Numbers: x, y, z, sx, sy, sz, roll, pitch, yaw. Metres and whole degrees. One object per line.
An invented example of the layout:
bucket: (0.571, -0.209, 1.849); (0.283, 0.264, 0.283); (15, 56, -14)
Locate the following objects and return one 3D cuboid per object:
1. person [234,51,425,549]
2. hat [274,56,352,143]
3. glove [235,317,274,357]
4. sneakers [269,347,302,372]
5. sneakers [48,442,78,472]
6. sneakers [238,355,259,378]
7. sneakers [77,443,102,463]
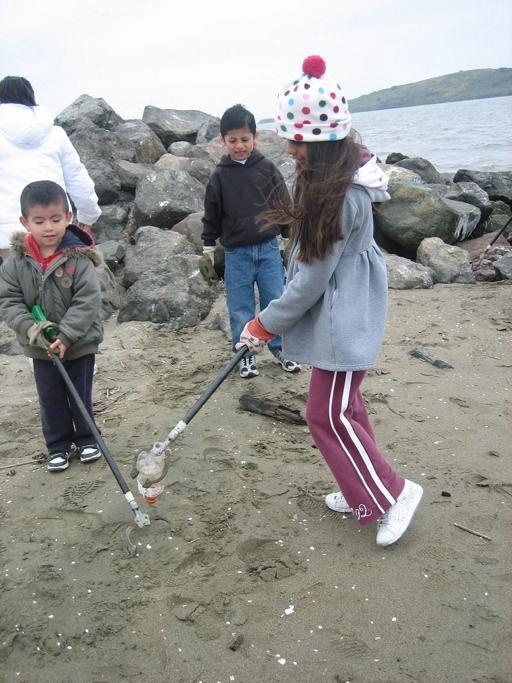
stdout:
person: (0.337, -0.116, 2.571); (0.582, 2.023, 0.510); (4, 24, 40)
hat: (0.204, -0.915, 2.308); (0.254, 0.315, 0.228); (5, 22, 40)
glove: (0.013, -0.033, 2.701); (0.072, 0.147, 0.155); (36, 17, -3)
sneakers: (0.179, 0.164, 4.471); (0.115, 0.121, 0.288); (-32, 42, -21)
sneakers: (-1.063, 0.648, 3.333); (0.073, 0.074, 0.182); (-1, 0, 0)
sneakers: (-0.053, 0.188, 4.391); (0.093, 0.089, 0.223); (-2, 10, -4)
sneakers: (-0.912, 0.620, 3.333); (0.066, 0.061, 0.163); (-1, -3, -23)
